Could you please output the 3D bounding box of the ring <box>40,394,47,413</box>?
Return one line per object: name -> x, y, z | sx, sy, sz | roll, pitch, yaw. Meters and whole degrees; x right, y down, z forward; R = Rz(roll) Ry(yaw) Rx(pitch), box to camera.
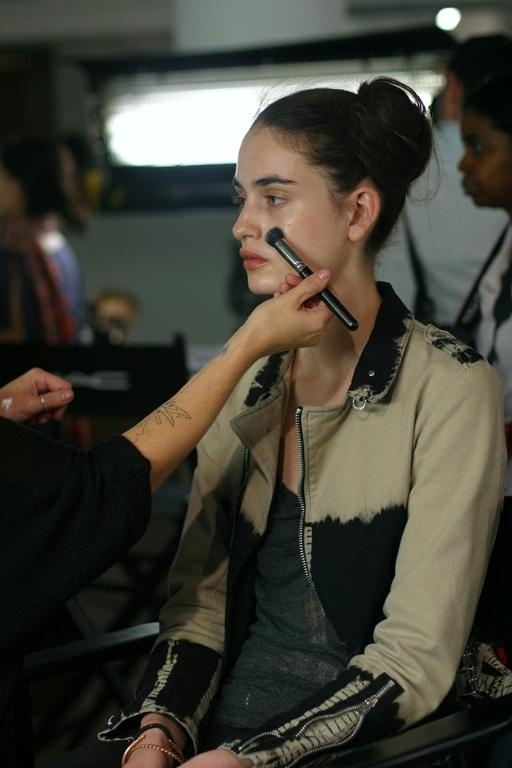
ring -> -0.283, 0.025, 0.993 | 0.004, 0.017, 0.017 | -11, 24, 0
